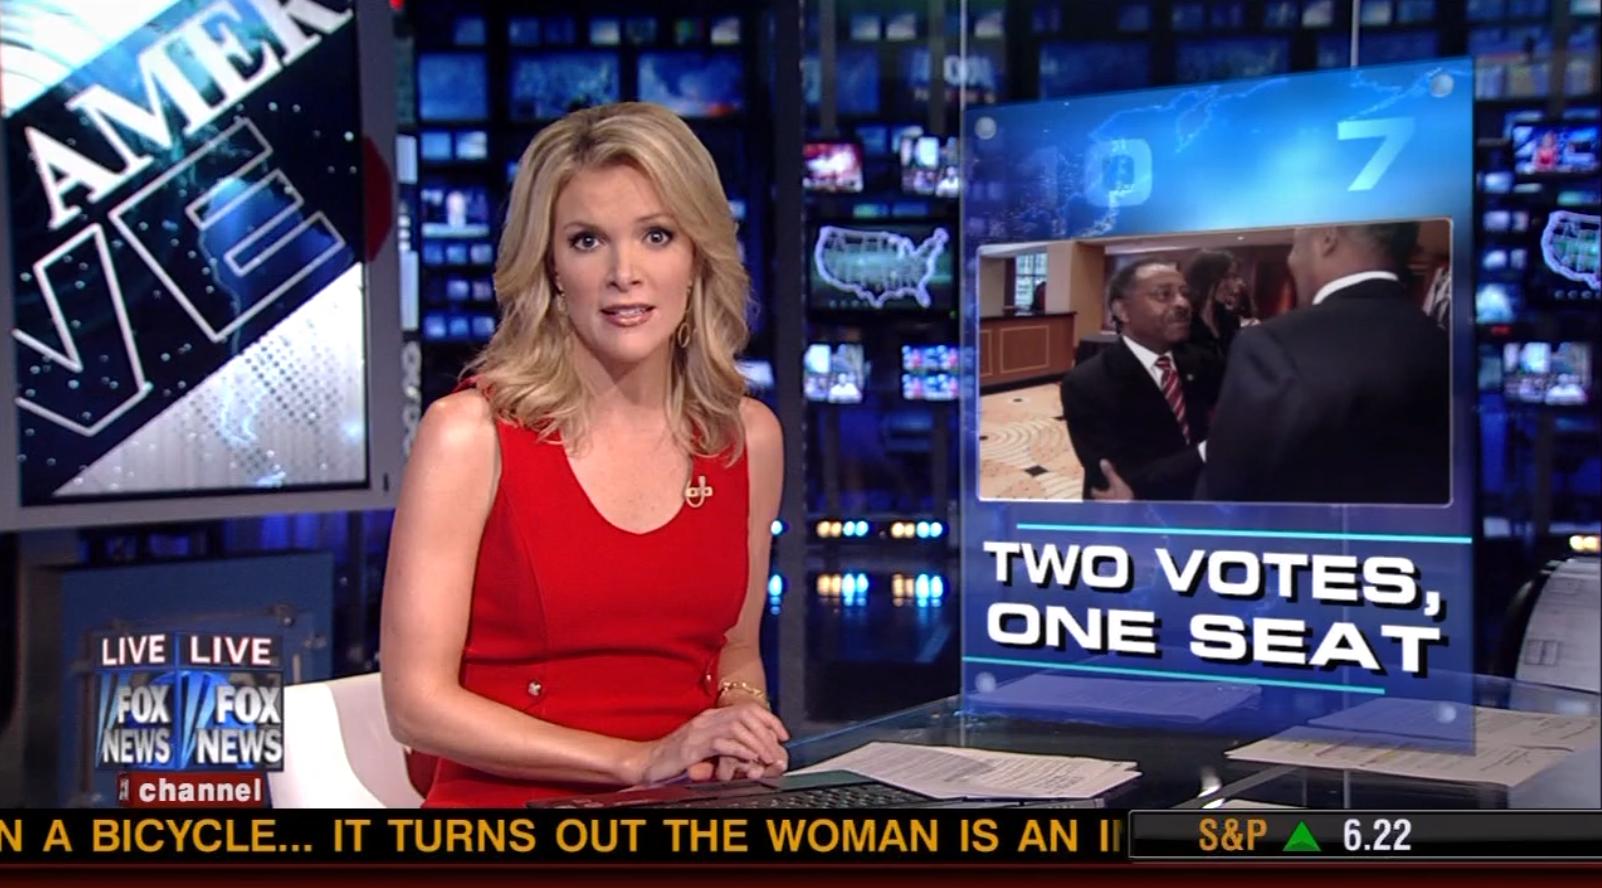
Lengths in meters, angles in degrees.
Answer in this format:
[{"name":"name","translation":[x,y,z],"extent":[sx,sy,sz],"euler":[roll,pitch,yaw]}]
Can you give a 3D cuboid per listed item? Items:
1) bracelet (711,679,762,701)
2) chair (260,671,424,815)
[{"name":"bracelet","translation":[-0.155,0.628,3.484],"extent":[0.072,0.031,0.054],"euler":[5,-3,13]},{"name":"chair","translation":[-1.191,0.739,3.670],"extent":[0.397,0.347,0.450],"euler":[-4,5,-35]}]
